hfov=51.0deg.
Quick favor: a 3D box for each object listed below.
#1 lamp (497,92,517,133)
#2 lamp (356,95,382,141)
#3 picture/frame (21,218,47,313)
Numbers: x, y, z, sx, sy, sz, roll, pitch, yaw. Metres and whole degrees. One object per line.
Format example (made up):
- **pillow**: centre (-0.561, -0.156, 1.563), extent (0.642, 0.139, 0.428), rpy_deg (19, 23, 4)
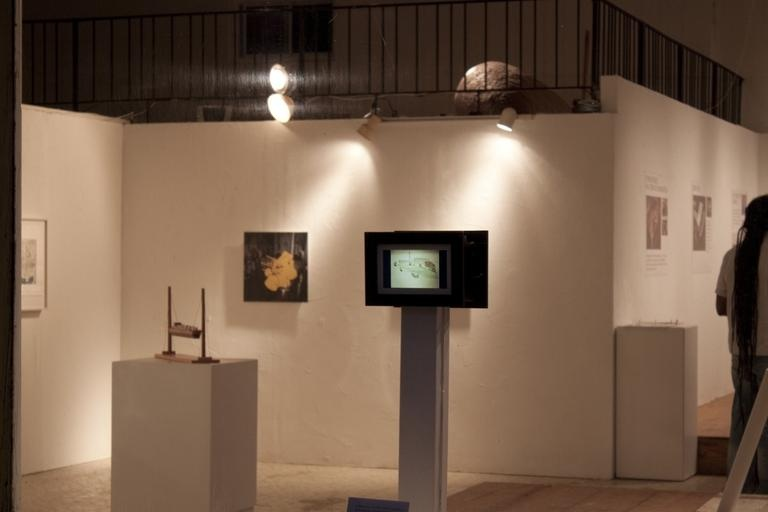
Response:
- **lamp**: centre (1.463, -1.688, 9.481), extent (0.245, 0.347, 0.600), rpy_deg (2, 1, 8)
- **lamp**: centre (-0.164, -1.657, 9.607), extent (0.293, 0.377, 0.508), rpy_deg (1, 1, -6)
- **picture/frame**: centre (-4.123, 0.107, 9.488), extent (0.261, 1.096, 0.101), rpy_deg (1, 1, -45)
